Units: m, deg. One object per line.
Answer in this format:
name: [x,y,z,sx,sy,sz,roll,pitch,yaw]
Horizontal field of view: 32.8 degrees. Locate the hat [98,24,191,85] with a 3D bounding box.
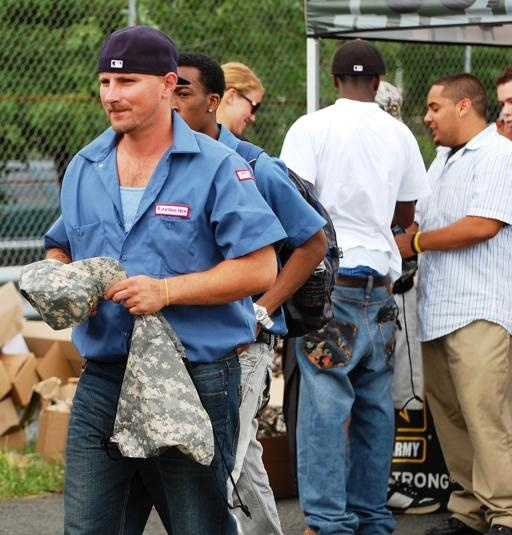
hat: [-0.358,-0.666,2.781,0.216,0.115,0.158,22,-6,-36]

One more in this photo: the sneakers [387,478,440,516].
sneakers: [0.835,1.243,4.662,0.362,0.143,0.118,0,2,0]

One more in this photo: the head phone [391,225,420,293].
head phone: [0.793,0.001,4.531,0.119,0.297,0.228,-8,46,22]

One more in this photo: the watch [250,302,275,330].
watch: [0.031,0.189,3.253,0.070,0.106,0.099,-36,-20,-1]

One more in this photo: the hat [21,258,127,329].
hat: [-0.544,0.049,2.645,0.275,0.122,0.209,-26,55,-23]

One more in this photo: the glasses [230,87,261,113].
glasses: [-0.057,-0.828,4.319,0.114,0.033,0.110,32,2,27]

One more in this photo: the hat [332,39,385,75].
hat: [0.486,-0.996,4.111,0.175,0.113,0.206,2,17,5]
